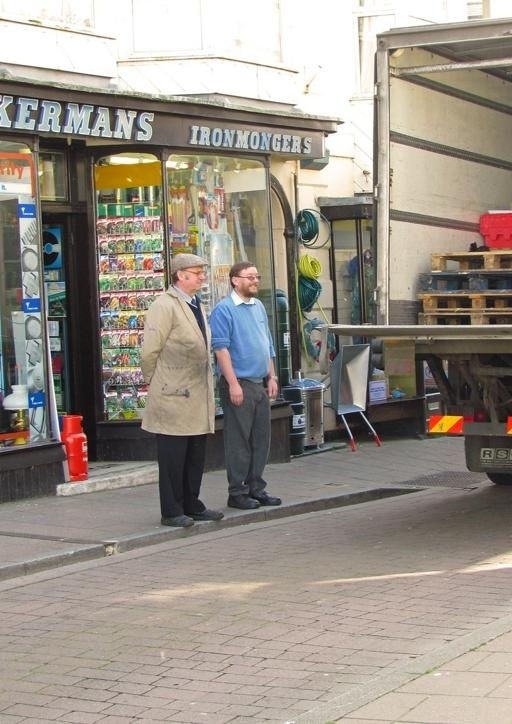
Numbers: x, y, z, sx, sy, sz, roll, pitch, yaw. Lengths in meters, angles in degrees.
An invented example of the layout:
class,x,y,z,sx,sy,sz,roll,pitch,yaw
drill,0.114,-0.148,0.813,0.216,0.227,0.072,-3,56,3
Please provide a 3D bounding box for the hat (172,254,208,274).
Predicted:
class,x,y,z,sx,sy,sz,roll,pitch,yaw
hat,-0.475,-0.704,6.193,0.211,0.092,0.138,-10,2,9

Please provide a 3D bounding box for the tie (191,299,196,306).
class,x,y,z,sx,sy,sz,roll,pitch,yaw
tie,-0.452,-0.436,6.281,0.043,0.048,0.013,-1,-28,-30

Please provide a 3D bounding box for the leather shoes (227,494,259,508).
class,x,y,z,sx,sy,sz,roll,pitch,yaw
leather shoes,-0.098,1.119,6.966,0.269,0.093,0.099,-4,-2,35

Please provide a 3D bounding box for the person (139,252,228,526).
class,x,y,z,sx,sy,sz,roll,pitch,yaw
person,-0.555,0.225,6.237,0.408,1.986,0.621,-1,5,35

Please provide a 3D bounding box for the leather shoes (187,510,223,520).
class,x,y,z,sx,sy,sz,roll,pitch,yaw
leather shoes,-0.387,1.140,6.506,0.245,0.079,0.087,-2,-2,0

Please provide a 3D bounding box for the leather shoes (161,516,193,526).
class,x,y,z,sx,sy,sz,roll,pitch,yaw
leather shoes,-0.585,1.149,6.311,0.180,0.061,0.089,-3,-5,17

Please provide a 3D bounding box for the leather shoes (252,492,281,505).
class,x,y,z,sx,sy,sz,roll,pitch,yaw
leather shoes,0.100,1.121,7.087,0.252,0.088,0.086,-1,1,8
